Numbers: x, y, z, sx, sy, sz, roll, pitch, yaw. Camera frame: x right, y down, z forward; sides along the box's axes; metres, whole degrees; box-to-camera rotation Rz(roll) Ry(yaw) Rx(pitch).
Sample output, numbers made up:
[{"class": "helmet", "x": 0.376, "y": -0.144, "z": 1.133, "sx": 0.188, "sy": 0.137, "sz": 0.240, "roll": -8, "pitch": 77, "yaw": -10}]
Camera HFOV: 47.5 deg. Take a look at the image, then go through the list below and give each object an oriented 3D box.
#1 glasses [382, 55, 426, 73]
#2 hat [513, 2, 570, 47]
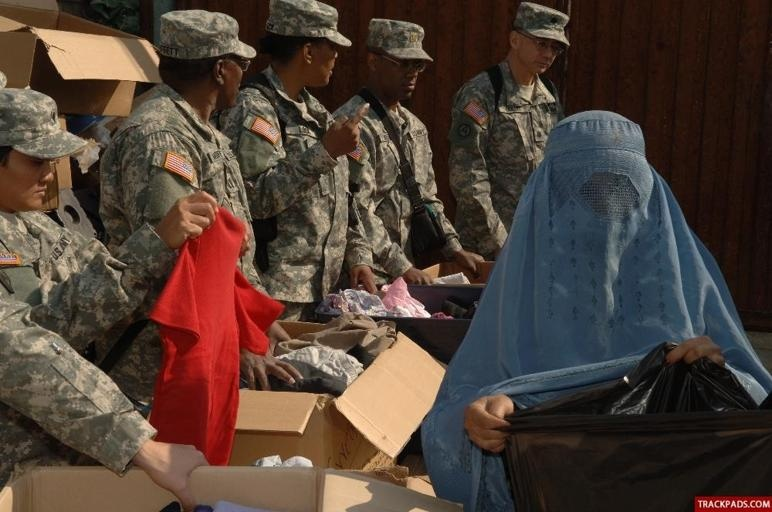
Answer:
[{"class": "glasses", "x": 0.137, "y": -1.250, "z": 5.727, "sx": 0.320, "sy": 0.101, "sz": 0.127, "roll": 4, "pitch": 18, "yaw": -28}, {"class": "hat", "x": 1.091, "y": -1.670, "z": 6.317, "sx": 0.307, "sy": 0.224, "sz": 0.389, "roll": 19, "pitch": 1, "yaw": -40}]
